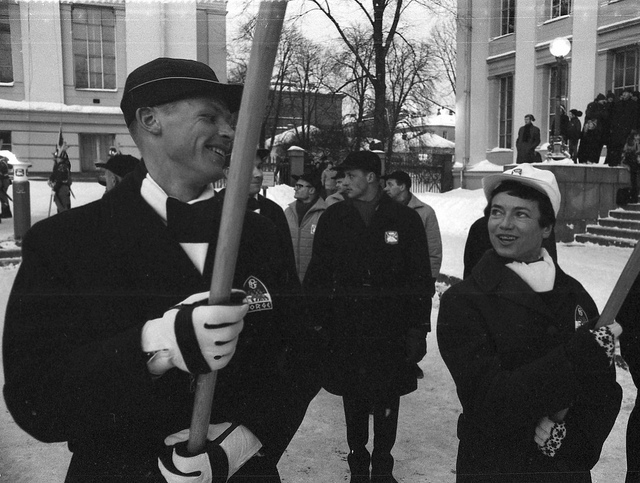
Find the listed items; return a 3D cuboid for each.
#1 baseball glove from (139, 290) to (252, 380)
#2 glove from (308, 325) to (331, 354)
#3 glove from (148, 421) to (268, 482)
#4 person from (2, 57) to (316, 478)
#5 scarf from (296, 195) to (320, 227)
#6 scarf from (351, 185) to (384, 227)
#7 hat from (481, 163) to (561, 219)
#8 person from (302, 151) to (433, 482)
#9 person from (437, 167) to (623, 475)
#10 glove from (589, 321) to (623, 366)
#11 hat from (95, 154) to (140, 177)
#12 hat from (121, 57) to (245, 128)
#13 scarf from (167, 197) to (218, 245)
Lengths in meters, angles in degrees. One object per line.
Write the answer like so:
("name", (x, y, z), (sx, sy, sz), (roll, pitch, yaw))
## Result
("baseball glove", (-0.286, 0.222, 1.755), (0.232, 0.190, 0.117), (-20, -20, 33))
("glove", (-0.004, 0.325, 2.448), (0.028, 0.106, 0.100), (-4, -2, 21))
("glove", (-0.269, 0.525, 1.855), (0.206, 0.078, 0.154), (-24, 22, -39))
("person", (-0.427, 0.099, 2.058), (0.678, 1.192, 0.680), (2, 9, 15))
("scarf", (-0.101, -0.202, 4.713), (0.121, 0.181, 0.072), (17, -7, 27))
("scarf", (0.234, -0.164, 3.620), (0.139, 0.207, 0.070), (-1, -14, -6))
("hat", (0.697, -0.203, 2.531), (0.204, 0.112, 0.296), (10, -17, 29))
("person", (0.211, 0.384, 3.197), (0.556, 1.398, 1.155), (1, 9, 8))
("person", (0.694, 0.265, 2.402), (0.565, 0.999, 0.392), (3, 9, 25))
("glove", (0.881, 0.314, 2.241), (0.079, 0.113, 0.051), (0, 49, -7))
("hat", (-0.621, -0.239, 2.245), (0.119, 0.080, 0.091), (2, 9, -4))
("hat", (-0.369, -0.366, 1.959), (0.235, 0.096, 0.200), (-3, 4, -36))
("scarf", (-0.353, -0.054, 2.013), (0.118, 0.128, 0.040), (4, 6, -6))
